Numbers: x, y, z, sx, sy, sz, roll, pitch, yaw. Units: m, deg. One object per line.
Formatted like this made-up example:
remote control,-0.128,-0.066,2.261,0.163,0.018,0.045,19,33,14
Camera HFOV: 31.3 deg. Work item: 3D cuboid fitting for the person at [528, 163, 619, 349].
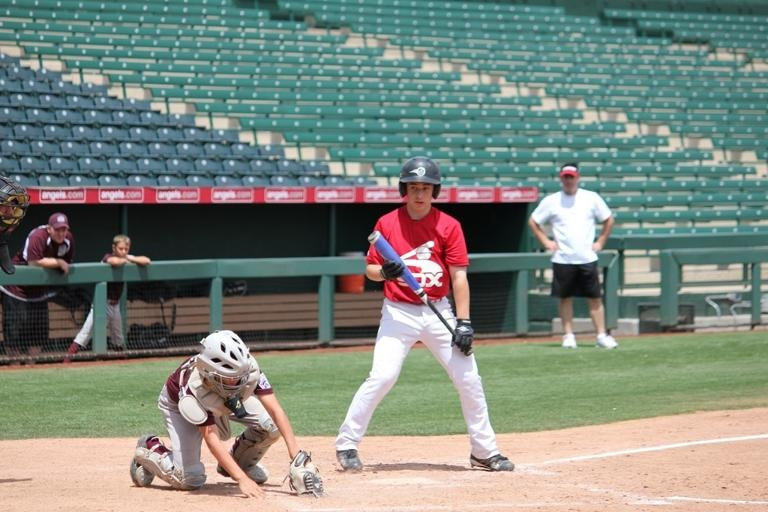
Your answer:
person,3.234,0.010,23.236,1.309,3.093,1.512,-2,-2,8

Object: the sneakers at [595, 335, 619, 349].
sneakers,3.745,1.431,23.069,0.199,0.133,0.352,-4,0,-21

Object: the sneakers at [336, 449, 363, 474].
sneakers,-0.461,2.774,18.708,0.228,0.153,0.409,-3,5,-26

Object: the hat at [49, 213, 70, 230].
hat,-5.365,-0.575,22.547,0.316,0.219,0.452,2,-1,-30

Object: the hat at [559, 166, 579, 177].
hat,3.062,-1.408,22.681,0.259,0.186,0.275,-2,-2,3

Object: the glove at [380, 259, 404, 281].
glove,0.112,0.183,18.531,0.304,0.265,0.218,2,-34,11

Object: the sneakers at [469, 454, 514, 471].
sneakers,1.487,2.817,18.834,0.567,0.198,0.228,-2,-4,18
